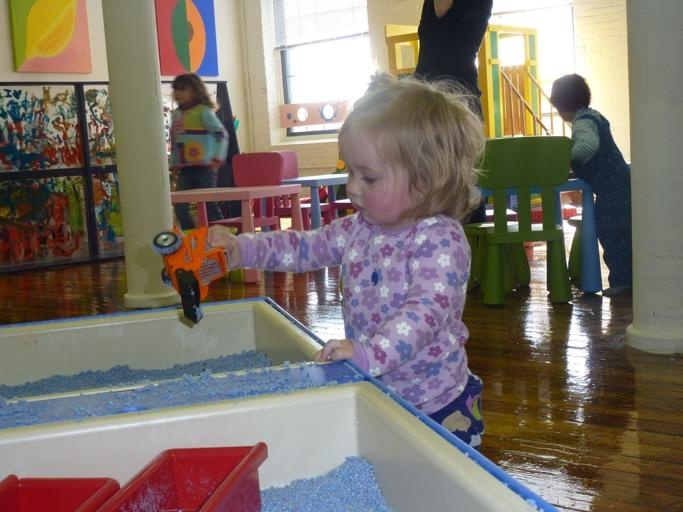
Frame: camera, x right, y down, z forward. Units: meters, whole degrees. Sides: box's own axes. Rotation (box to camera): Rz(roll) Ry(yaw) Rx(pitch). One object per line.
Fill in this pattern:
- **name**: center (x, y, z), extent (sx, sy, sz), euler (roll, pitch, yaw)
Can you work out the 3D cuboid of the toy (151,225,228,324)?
- **toy**: center (-0.249, 0.031, 0.993), extent (0.117, 0.164, 0.095), euler (-4, 9, -12)
